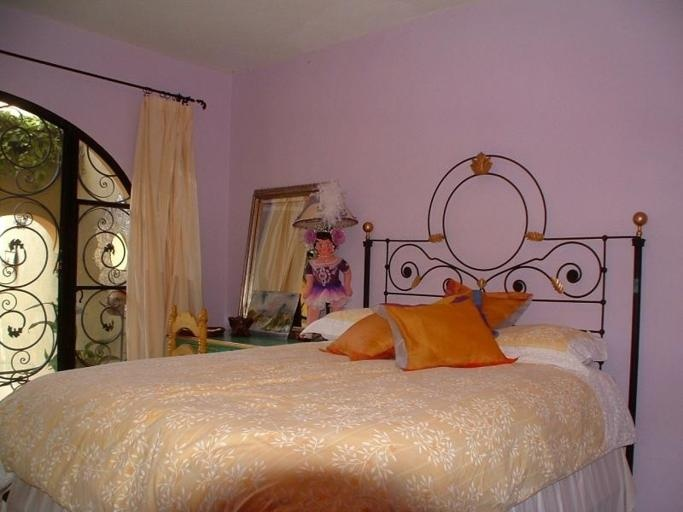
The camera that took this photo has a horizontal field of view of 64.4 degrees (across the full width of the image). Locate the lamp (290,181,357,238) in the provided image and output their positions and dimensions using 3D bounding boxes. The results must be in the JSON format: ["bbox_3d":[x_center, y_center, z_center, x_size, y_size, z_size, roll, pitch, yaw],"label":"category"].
[{"bbox_3d":[-0.131,-0.321,4.148,0.388,0.296,0.427,2,-6,4],"label":"lamp"}]

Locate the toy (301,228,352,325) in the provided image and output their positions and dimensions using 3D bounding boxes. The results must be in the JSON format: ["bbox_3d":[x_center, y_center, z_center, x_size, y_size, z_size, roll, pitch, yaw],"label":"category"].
[{"bbox_3d":[-0.109,0.201,4.053,0.334,0.822,0.343,-1,6,6],"label":"toy"}]

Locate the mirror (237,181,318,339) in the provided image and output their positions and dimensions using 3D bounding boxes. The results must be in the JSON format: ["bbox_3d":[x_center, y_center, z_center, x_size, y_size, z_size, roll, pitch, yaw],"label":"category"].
[{"bbox_3d":[-0.494,0.051,4.397,1.039,1.601,0.064,-8,-15,43],"label":"mirror"}]
